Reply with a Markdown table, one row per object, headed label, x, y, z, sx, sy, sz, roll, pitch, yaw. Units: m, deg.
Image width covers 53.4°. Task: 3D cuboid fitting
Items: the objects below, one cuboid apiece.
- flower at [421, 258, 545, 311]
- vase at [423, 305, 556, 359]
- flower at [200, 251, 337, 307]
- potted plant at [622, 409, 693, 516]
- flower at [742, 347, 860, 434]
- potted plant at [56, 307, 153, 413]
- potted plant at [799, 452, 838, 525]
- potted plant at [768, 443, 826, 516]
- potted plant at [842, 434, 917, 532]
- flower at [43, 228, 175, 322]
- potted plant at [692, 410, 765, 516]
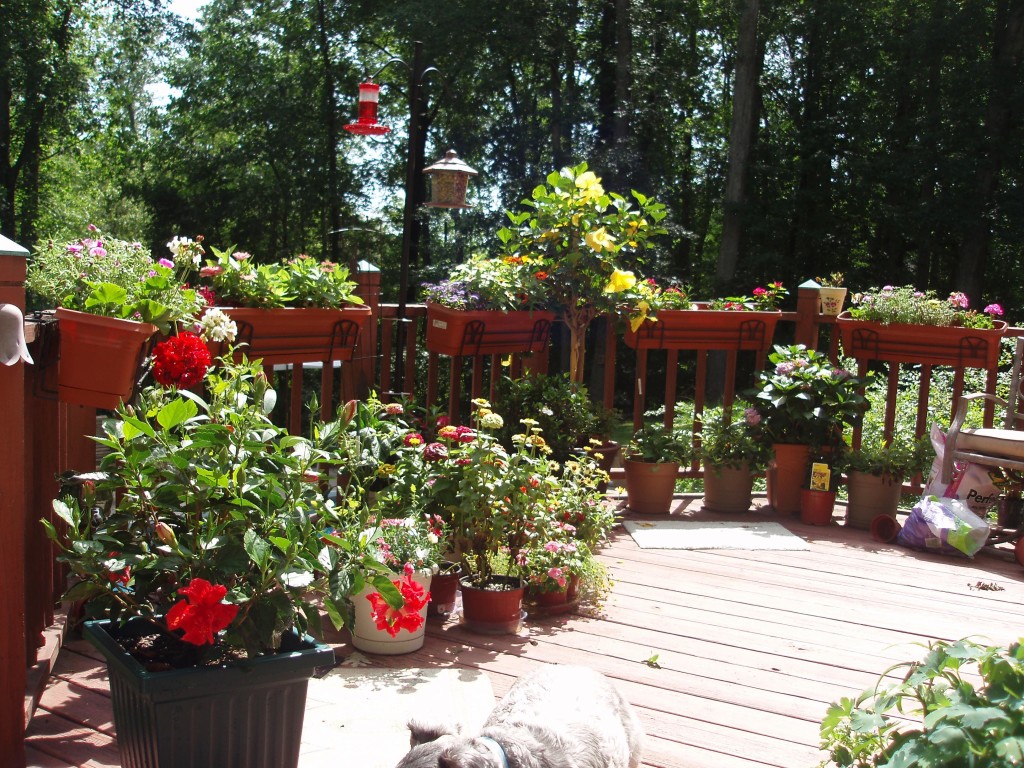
| label | x | y | z | sx | sy | sz | roll | pitch | yaw |
| --- | --- | --- | --- | --- | --- | --- | --- | --- | --- |
| flower | -0.192 | -0.493 | 5.235 | 0.377 | 0.224 | 0.390 | 5 | 3 | 40 |
| vase | -0.116 | -0.260 | 5.234 | 0.487 | 0.193 | 0.295 | 0 | 7 | -39 |
| flower | -0.966 | -0.438 | 4.181 | 0.206 | 0.248 | 0.652 | 13 | 16 | 41 |
| potted plant | 0.729 | 0.433 | 5.547 | 0.318 | 0.436 | 0.278 | 11 | 3 | 34 |
| flower | 1.654 | 0.029 | 5.461 | 0.327 | 0.247 | 0.329 | 3 | 13 | -26 |
| potted plant | -1.317 | -0.056 | 3.285 | 0.303 | 0.281 | 0.249 | 10 | -14 | -16 |
| potted plant | 1.634 | 0.566 | 5.447 | 0.169 | 0.332 | 0.213 | 6 | 13 | 17 |
| potted plant | 1.610 | 0.539 | 5.577 | 0.315 | 0.374 | 0.263 | 15 | -8 | -28 |
| potted plant | 1.924 | 0.528 | 5.430 | 0.320 | 0.444 | 0.400 | 13 | -7 | -42 |
| flower | -1.348 | -0.347 | 3.386 | 0.380 | 0.257 | 0.414 | 3 | 5 | -36 |
| potted plant | 1.182 | 0.438 | 5.650 | 0.323 | 0.488 | 0.274 | 5 | -7 | -39 |
